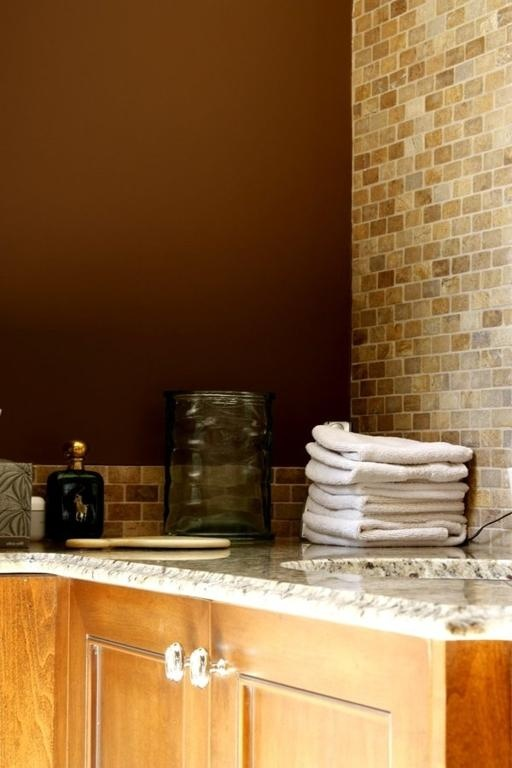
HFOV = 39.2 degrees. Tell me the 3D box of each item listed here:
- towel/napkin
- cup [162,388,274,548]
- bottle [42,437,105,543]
[{"bbox_3d":[0.265,0.192,1.432,0.269,0.178,0.257,2,-3,-20],"label":"towel/napkin"},{"bbox_3d":[-0.088,0.182,1.664,0.262,0.319,0.217,0,-2,-7],"label":"cup"},{"bbox_3d":[-0.369,0.219,1.457,0.119,0.203,0.187,3,-5,-13],"label":"bottle"}]
